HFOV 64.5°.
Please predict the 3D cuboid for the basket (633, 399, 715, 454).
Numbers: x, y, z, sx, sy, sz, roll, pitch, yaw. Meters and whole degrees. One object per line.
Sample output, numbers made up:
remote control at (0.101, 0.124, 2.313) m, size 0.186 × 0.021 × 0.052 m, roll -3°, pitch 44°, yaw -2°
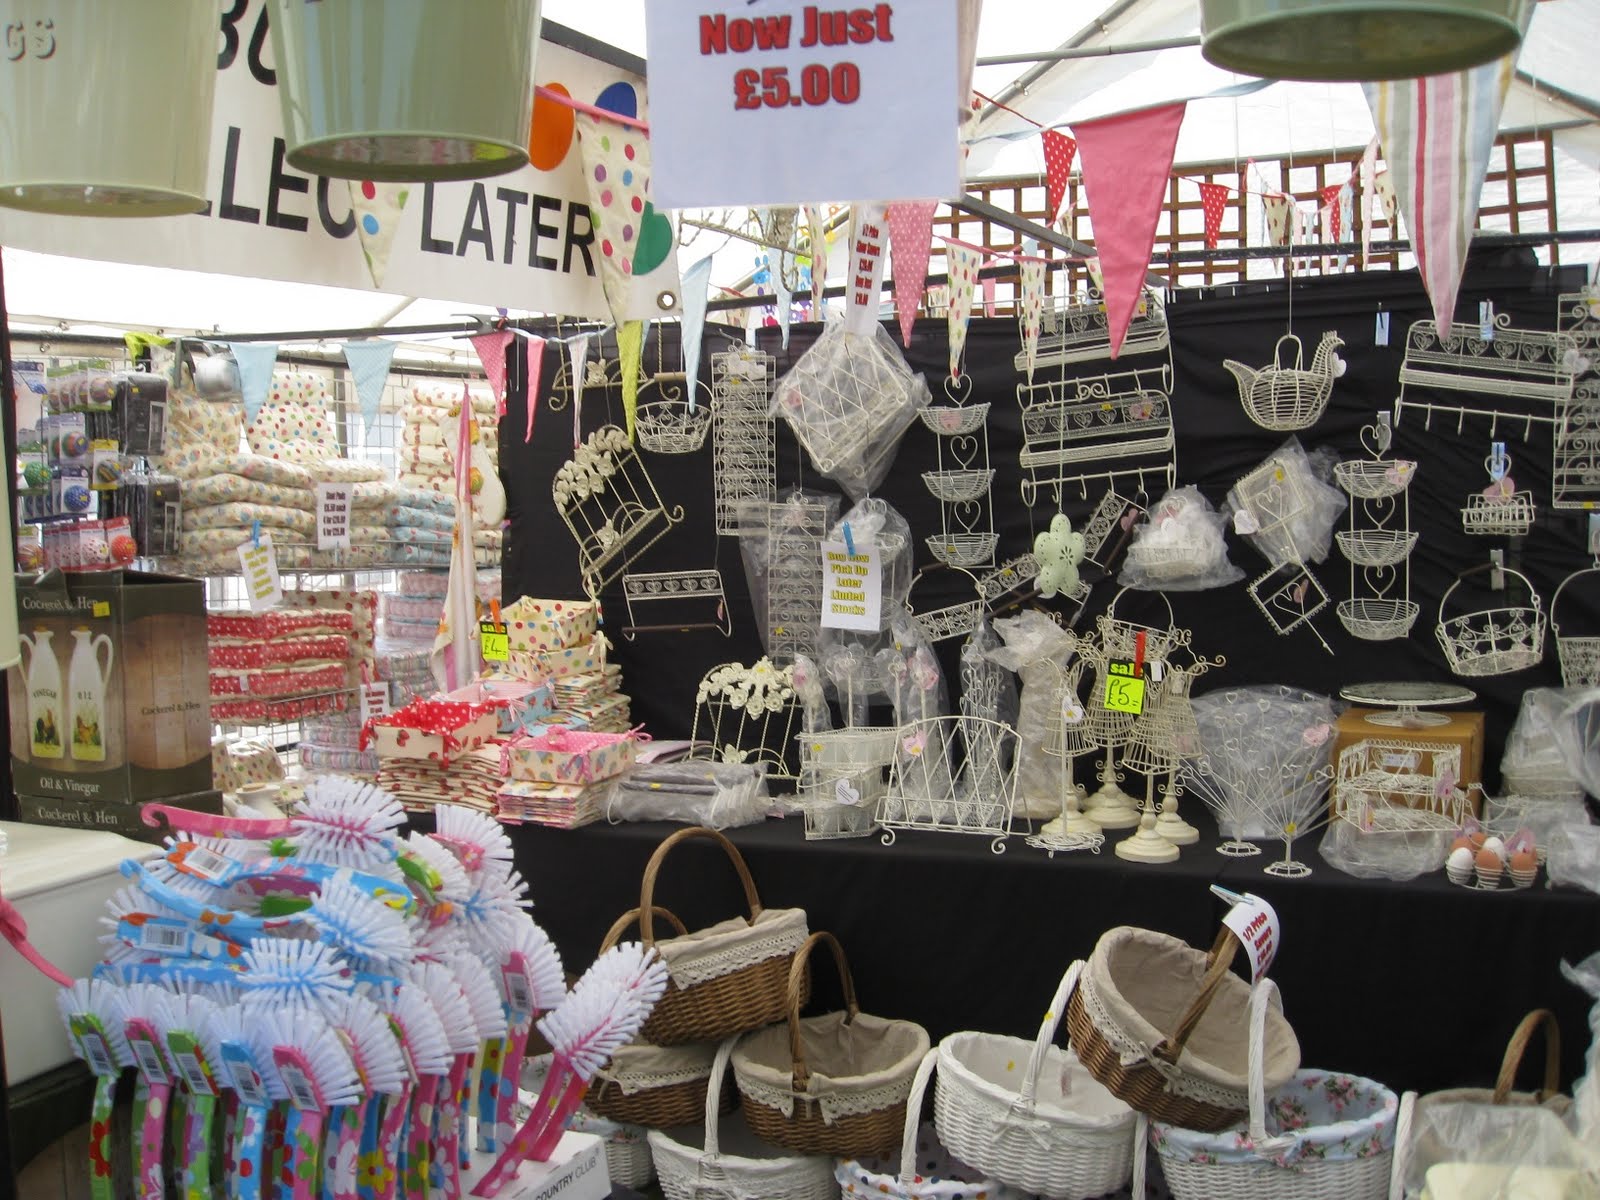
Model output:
basket at (-0.483, -0.666, 4.856) m, size 0.210 × 0.096 × 0.209 m, roll -11°, pitch 19°, yaw -38°
